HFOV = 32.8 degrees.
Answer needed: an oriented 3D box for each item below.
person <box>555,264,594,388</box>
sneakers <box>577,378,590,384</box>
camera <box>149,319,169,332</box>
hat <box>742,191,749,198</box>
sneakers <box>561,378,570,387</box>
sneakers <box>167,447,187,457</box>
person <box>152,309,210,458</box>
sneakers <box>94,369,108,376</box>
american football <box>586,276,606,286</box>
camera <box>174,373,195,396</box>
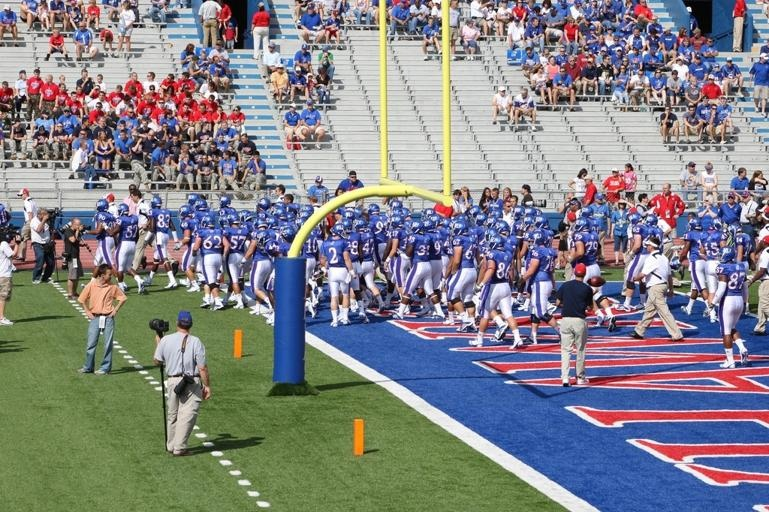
[{"bbox_3d":[3.718,1.325,25.360,0.694,2.265,1.007,-1,8,8],"label":"person"},{"bbox_3d":[3.831,2.406,25.227,0.106,0.097,0.246,3,6,36],"label":"sneakers"},{"bbox_3d":[-4.066,1.209,22.930,0.360,0.201,0.336,4,2,25],"label":"camera"},{"bbox_3d":[10.268,-1.736,36.874,0.193,0.161,0.186,-1,8,8],"label":"hat"},{"bbox_3d":[3.490,2.425,25.108,0.199,0.071,0.245,0,2,5],"label":"sneakers"},{"bbox_3d":[-3.552,3.299,22.088,0.325,0.140,0.133,6,-1,-14],"label":"sneakers"},{"bbox_3d":[-3.458,2.190,22.122,0.830,2.315,0.492,-4,8,-10],"label":"person"},{"bbox_3d":[-5.516,2.227,25.119,0.243,0.099,0.099,-1,4,7],"label":"sneakers"},{"bbox_3d":[4.085,0.478,25.157,0.271,0.148,0.165,-1,8,-5],"label":"american football"},{"bbox_3d":[-3.403,2.167,21.926,0.206,0.344,0.219,33,-17,14],"label":"camera"}]
